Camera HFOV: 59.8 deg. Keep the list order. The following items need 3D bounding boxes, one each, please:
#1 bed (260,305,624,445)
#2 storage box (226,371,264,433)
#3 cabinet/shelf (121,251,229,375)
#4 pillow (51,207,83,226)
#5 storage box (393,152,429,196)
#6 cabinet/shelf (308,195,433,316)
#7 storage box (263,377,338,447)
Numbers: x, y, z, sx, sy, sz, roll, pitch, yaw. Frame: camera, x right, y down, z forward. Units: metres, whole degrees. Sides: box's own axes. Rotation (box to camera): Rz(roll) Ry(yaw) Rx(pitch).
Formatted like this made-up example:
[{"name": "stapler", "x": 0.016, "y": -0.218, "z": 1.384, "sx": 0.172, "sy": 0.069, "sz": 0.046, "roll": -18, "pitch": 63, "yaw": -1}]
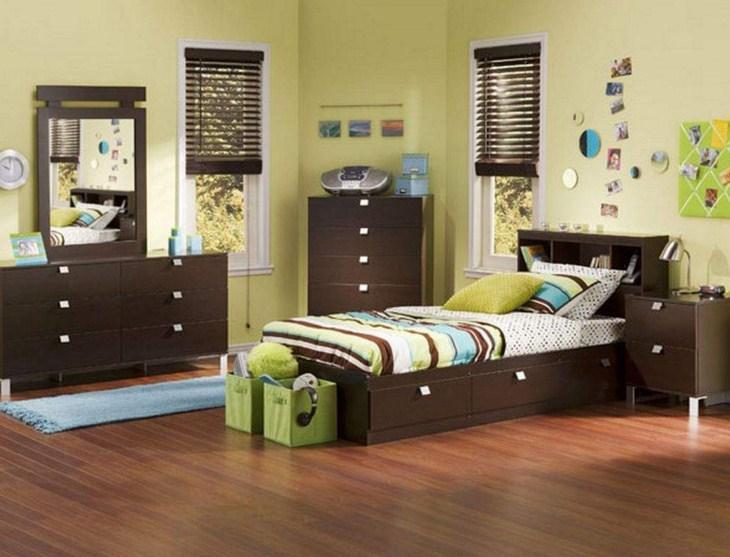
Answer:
[{"name": "bed", "x": 0.605, "y": 0.635, "z": 4.054, "sx": 1.631, "sy": 0.400, "sz": 0.934, "roll": -3, "pitch": 4, "yaw": -33}, {"name": "storage box", "x": -0.726, "y": 0.743, "z": 3.828, "sx": 0.316, "sy": 0.338, "sz": 0.091, "roll": 4, "pitch": 7, "yaw": 39}, {"name": "cabinet/shelf", "x": -1.569, "y": 0.256, "z": 5.172, "sx": 1.057, "sy": 0.838, "sz": 0.416, "roll": -2, "pitch": 3, "yaw": -33}, {"name": "pillow", "x": -2.392, "y": -0.489, "z": 5.076, "sx": 0.159, "sy": 0.053, "sz": 0.148, "roll": 16, "pitch": 38, "yaw": 37}, {"name": "storage box", "x": 0.429, "y": -0.923, "z": 5.687, "sx": 0.290, "sy": 0.378, "sz": 0.209, "roll": -1, "pitch": 5, "yaw": 0}, {"name": "cabinet/shelf", "x": 0.068, "y": -0.220, "z": 5.605, "sx": 1.114, "sy": 1.221, "sz": 0.457, "roll": 1, "pitch": 3, "yaw": 17}, {"name": "storage box", "x": -0.353, "y": 0.721, "z": 3.705, "sx": 0.396, "sy": 0.354, "sz": 0.368, "roll": -4, "pitch": 6, "yaw": -40}]
